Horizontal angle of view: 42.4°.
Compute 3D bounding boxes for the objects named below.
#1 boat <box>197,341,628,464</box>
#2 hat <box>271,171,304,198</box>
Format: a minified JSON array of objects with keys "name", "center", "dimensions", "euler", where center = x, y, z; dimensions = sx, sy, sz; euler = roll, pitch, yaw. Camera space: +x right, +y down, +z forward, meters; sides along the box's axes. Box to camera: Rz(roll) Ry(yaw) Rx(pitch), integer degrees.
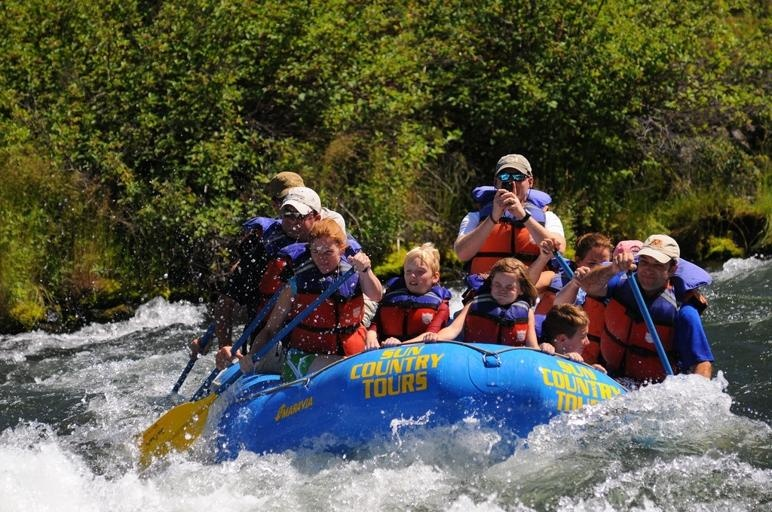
[{"name":"boat","center":[0.180,1.660,11.123],"dimensions":[3.124,0.719,2.038],"euler":[-12,-18,9]},{"name":"hat","center":[-1.249,-0.830,12.141],"dimensions":[0.376,0.225,0.282],"euler":[-15,3,31]}]
